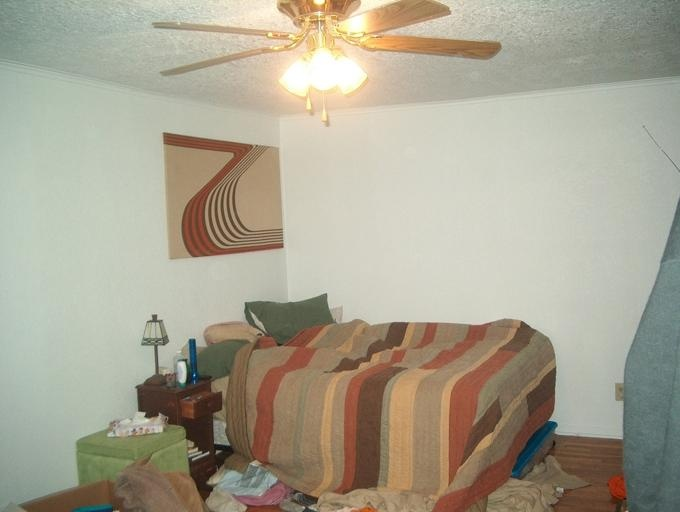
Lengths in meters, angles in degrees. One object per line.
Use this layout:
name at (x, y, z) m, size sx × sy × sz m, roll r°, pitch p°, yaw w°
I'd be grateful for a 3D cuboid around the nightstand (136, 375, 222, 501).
nightstand at (-1.105, 1.249, 3.970) m, size 0.409 × 0.727 × 0.392 m, roll 2°, pitch 7°, yaw 22°

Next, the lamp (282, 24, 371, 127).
lamp at (-0.121, -1.009, 2.987) m, size 0.400 × 0.401 × 0.466 m, roll -1°, pitch -35°, yaw -6°

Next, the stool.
stool at (-1.332, 1.264, 3.525) m, size 0.653 × 0.291 × 0.315 m, roll -5°, pitch -2°, yaw 2°

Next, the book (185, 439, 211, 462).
book at (-0.972, 1.327, 3.869) m, size 0.154 × 0.037 × 0.156 m, roll 1°, pitch 0°, yaw 27°
